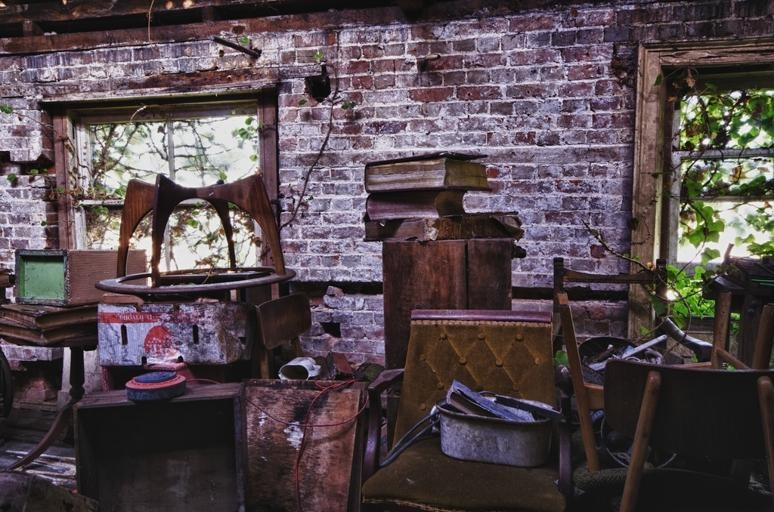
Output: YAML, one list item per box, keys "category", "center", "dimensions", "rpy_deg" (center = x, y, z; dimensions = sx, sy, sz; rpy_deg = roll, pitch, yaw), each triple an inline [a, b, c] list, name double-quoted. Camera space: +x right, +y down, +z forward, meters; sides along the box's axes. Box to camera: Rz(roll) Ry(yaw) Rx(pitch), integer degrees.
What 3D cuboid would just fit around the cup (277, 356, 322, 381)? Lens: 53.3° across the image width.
- category: "cup"
  center: [-0.616, 0.792, 5.372]
  dimensions: [0.247, 0.144, 0.194]
  rpy_deg: [-4, 7, -2]
